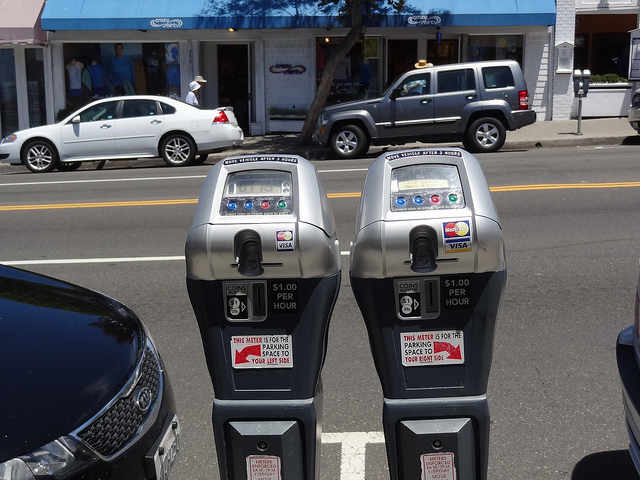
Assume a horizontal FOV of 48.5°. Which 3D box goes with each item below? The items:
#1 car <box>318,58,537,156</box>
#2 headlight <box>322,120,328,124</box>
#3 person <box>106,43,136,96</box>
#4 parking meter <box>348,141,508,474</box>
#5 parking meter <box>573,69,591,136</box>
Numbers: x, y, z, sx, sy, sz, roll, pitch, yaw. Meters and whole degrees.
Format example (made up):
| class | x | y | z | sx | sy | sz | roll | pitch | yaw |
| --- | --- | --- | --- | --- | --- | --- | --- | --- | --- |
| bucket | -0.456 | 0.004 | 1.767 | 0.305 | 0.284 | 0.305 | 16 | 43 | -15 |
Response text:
| class | x | y | z | sx | sy | sz | roll | pitch | yaw |
| --- | --- | --- | --- | --- | --- | --- | --- | --- | --- |
| car | 2.276 | -2.889 | 15.904 | 3.956 | 2.215 | 2.119 | 0 | 6 | 5 |
| headlight | 0.112 | -2.544 | 15.317 | 0.063 | 0.080 | 0.127 | 10 | 16 | 9 |
| person | -5.903 | -4.582 | 20.914 | 0.694 | 2.516 | 0.502 | -8 | 42 | -23 |
| parking meter | 0.541 | 0.359 | 3.580 | 0.752 | 1.418 | 0.733 | 0 | 22 | 10 |
| parking meter | 6.282 | -3.320 | 17.124 | 0.409 | 1.570 | 0.292 | 8 | 21 | 29 |
